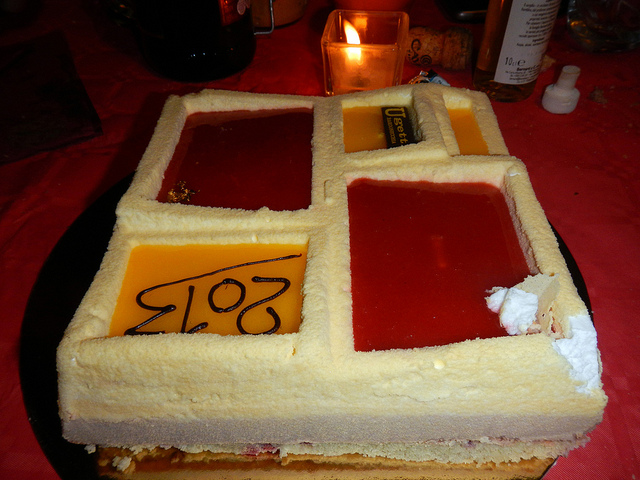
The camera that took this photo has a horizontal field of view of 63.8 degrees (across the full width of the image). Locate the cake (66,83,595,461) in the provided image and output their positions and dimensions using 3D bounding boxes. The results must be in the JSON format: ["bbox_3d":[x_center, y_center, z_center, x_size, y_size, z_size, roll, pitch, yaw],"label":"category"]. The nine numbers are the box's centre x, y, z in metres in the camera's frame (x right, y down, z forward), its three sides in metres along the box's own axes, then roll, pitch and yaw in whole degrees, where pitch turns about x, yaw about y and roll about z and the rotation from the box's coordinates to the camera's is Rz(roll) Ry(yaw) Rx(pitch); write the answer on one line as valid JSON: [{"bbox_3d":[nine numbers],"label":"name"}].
[{"bbox_3d":[0.029,0.009,0.830,0.723,0.182,0.592,3,55,3],"label":"cake"}]

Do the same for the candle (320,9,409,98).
[{"bbox_3d":[0.096,-0.415,1.223,0.251,0.209,0.226,1,78,1],"label":"candle"}]
